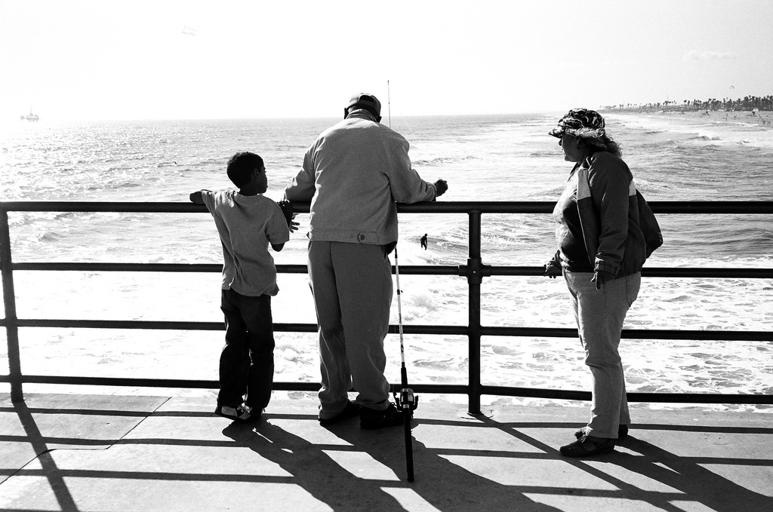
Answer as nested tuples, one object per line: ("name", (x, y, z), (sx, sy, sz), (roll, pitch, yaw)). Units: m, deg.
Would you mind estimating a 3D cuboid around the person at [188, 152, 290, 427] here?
("person", (-1.539, 0.275, 9.302), (1.640, 2.672, 0.995), (5, 5, 35))
